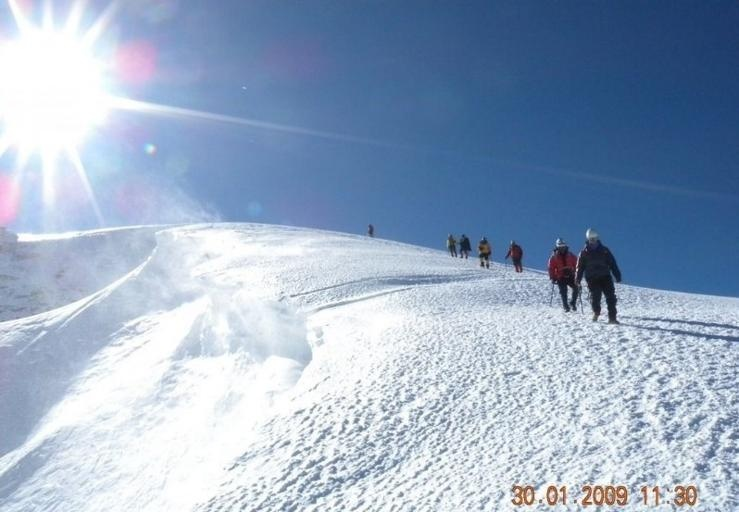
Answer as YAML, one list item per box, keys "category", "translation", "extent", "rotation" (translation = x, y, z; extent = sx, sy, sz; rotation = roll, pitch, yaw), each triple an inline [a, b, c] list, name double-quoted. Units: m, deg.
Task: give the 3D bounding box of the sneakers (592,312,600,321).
- category: "sneakers"
  translation: [7.494, 2.007, 16.315]
  extent: [0.204, 0.263, 0.322]
  rotation: [4, 5, 22]
